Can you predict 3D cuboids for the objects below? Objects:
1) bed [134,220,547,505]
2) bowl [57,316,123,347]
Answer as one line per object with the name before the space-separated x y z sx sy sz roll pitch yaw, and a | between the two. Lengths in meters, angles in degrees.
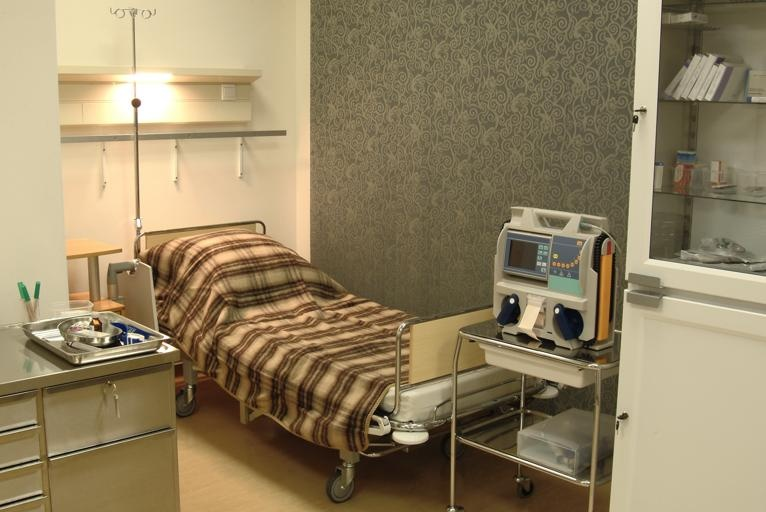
bed | -0.517 0.429 3.476 1.280 1.009 2.177 -11 17 -39
bowl | -1.162 0.285 2.317 0.208 0.087 0.350 -8 10 -31
